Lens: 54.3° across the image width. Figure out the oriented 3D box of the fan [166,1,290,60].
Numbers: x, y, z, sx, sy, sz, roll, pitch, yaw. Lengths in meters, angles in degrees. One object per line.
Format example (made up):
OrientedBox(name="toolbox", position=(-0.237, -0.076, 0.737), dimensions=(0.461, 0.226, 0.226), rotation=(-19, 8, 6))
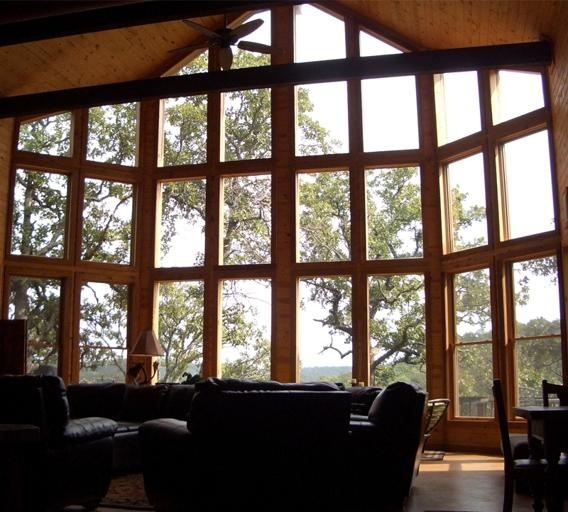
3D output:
OrientedBox(name="fan", position=(-0.633, -2.244, 6.083), dimensions=(1.223, 0.393, 1.148), rotation=(-5, 0, -34))
